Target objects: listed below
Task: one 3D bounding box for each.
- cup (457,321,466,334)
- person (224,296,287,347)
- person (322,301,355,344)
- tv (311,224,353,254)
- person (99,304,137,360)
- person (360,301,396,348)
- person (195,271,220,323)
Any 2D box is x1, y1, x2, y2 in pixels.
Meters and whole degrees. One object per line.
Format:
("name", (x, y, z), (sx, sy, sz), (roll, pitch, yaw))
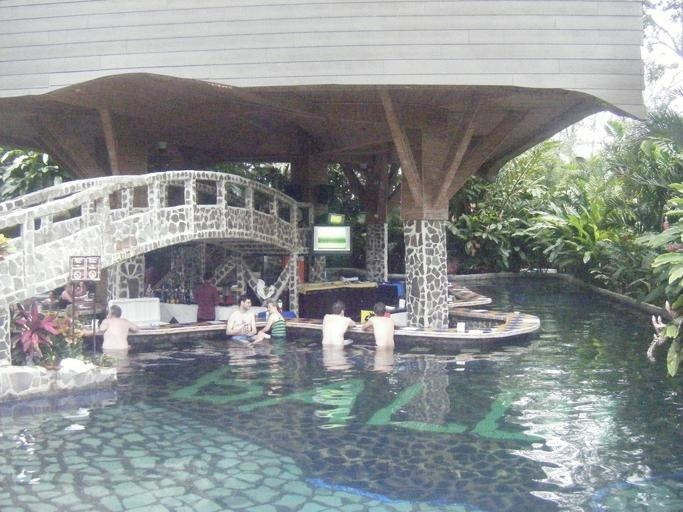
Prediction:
("cup", (2.513, 1.476, 13.199), (0.215, 0.296, 0.216), (-1, 5, 0))
("person", (-1.872, 1.478, 14.012), (1.217, 1.214, 0.806), (-2, 2, -5))
("person", (-0.100, 1.401, 13.506), (0.577, 0.939, 0.661), (17, 27, 29))
("tv", (-0.268, -0.419, 16.905), (1.244, 0.866, 0.670), (0, -3, -24))
("person", (-4.437, 1.465, 12.623), (0.704, 0.923, 1.030), (-3, 11, -13))
("person", (0.860, 1.411, 13.229), (0.537, 0.564, 0.928), (13, 8, -43))
("person", (-3.139, 0.959, 14.840), (0.490, 1.123, 0.510), (-2, 10, -7))
